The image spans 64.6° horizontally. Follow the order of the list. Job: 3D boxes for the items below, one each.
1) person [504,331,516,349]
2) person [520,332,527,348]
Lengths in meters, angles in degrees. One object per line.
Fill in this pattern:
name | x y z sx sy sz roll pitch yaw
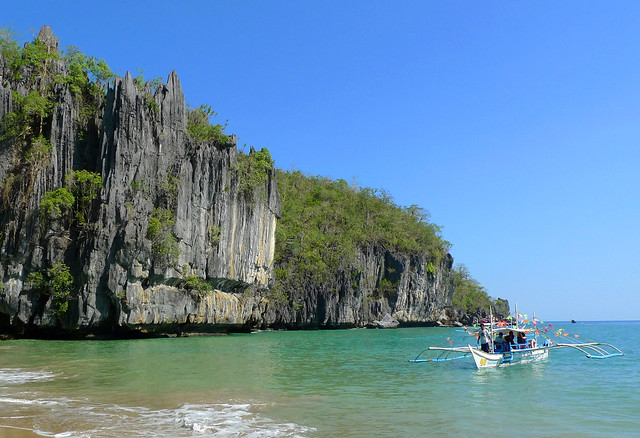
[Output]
person | 13.108 8.460 35.206 0.675 1.141 1.491 -1 -5 37
person | 14.440 8.707 36.185 0.534 1.024 1.339 0 -5 26
